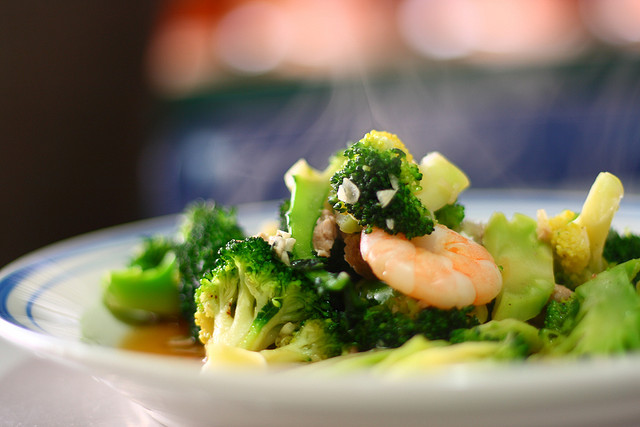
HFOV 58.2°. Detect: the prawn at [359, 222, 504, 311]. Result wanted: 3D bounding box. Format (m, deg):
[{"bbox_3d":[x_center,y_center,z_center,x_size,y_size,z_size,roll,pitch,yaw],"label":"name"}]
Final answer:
[{"bbox_3d":[0.299,0.137,1.604,0.379,0.237,0.234,-2,-2,-14],"label":"prawn"}]
